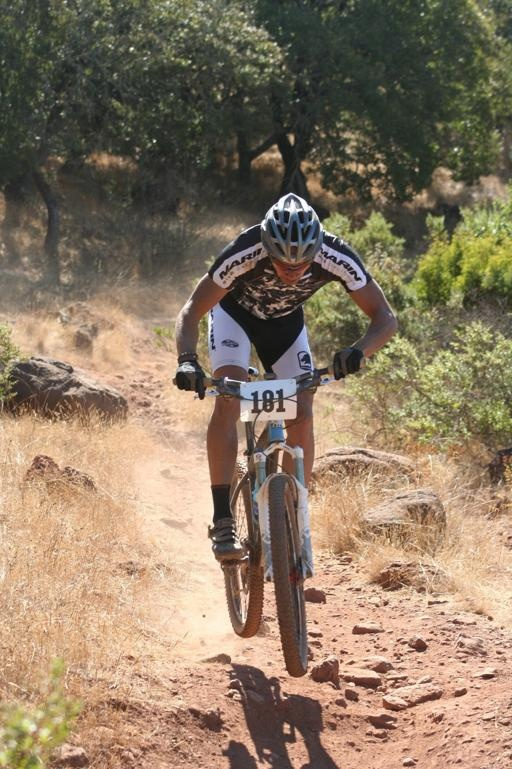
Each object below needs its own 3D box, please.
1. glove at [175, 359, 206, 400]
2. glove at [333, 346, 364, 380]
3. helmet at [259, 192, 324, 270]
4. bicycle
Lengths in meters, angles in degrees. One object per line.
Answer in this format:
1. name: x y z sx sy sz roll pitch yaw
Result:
1. glove: -0.352 -0.030 5.393 0.139 0.205 0.083 -18 -8 12
2. glove: 0.485 -0.108 5.488 0.165 0.171 0.244 2 14 5
3. helmet: 0.192 -0.873 5.572 0.326 0.279 0.515 3 24 5
4. bicycle: 0.021 0.776 5.591 0.694 1.772 1.062 0 14 -5
